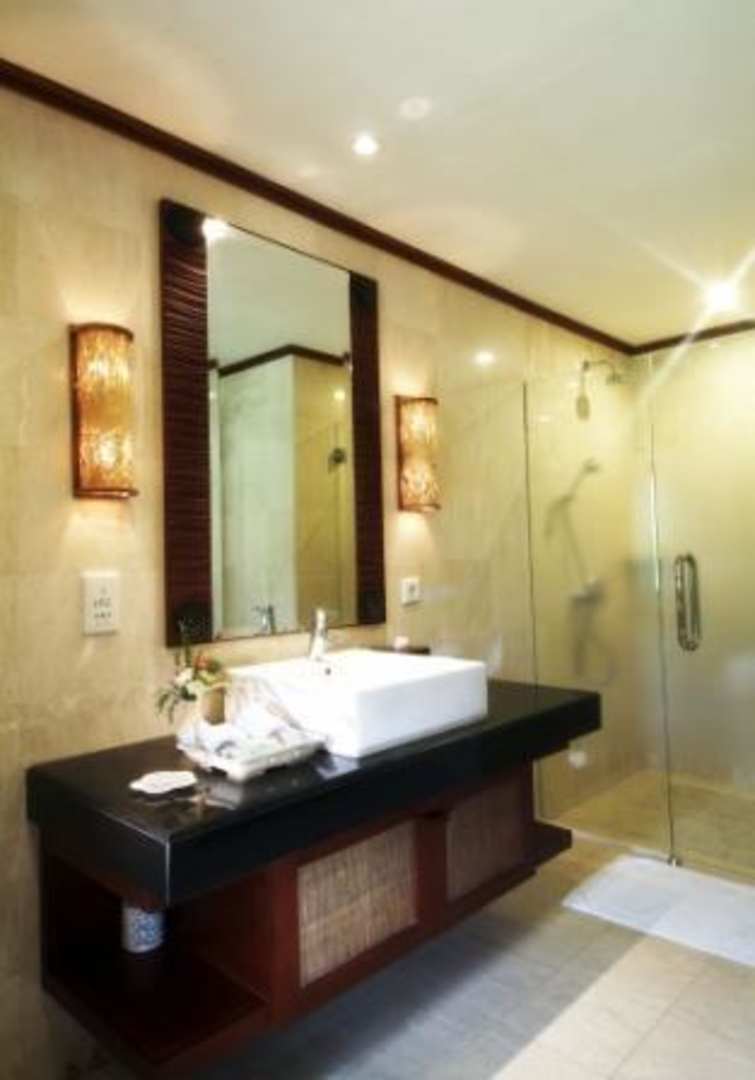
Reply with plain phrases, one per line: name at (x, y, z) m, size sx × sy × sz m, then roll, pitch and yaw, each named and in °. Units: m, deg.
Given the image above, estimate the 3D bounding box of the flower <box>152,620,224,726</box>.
flower at (-0.432, 0.337, 1.878) m, size 0.116 × 0.191 × 0.128 m, roll 9°, pitch 24°, yaw 32°

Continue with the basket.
basket at (-0.248, 0.399, 1.722) m, size 0.223 × 0.139 × 0.282 m, roll 4°, pitch -6°, yaw 8°

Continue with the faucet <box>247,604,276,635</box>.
faucet at (-0.304, 0.215, 2.208) m, size 0.082 × 0.093 × 0.045 m, roll -11°, pitch 12°, yaw -43°

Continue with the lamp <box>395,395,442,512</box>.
lamp at (0.151, -0.293, 2.772) m, size 0.101 × 0.298 × 0.203 m, roll -2°, pitch -1°, yaw 32°

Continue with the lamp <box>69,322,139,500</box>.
lamp at (-0.611, -0.288, 1.833) m, size 0.142 × 0.387 × 0.118 m, roll -1°, pitch -1°, yaw -37°

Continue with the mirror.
mirror at (-0.268, -0.296, 2.286) m, size 0.043 × 1.120 × 0.800 m, roll -2°, pitch -1°, yaw 41°

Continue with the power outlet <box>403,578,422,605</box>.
power outlet at (0.114, 0.174, 2.740) m, size 0.011 × 0.066 × 0.089 m, roll -3°, pitch -5°, yaw 33°

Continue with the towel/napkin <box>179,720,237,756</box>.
towel/napkin at (-0.354, 0.416, 1.701) m, size 0.081 × 0.032 × 0.084 m, roll -1°, pitch -4°, yaw 31°
